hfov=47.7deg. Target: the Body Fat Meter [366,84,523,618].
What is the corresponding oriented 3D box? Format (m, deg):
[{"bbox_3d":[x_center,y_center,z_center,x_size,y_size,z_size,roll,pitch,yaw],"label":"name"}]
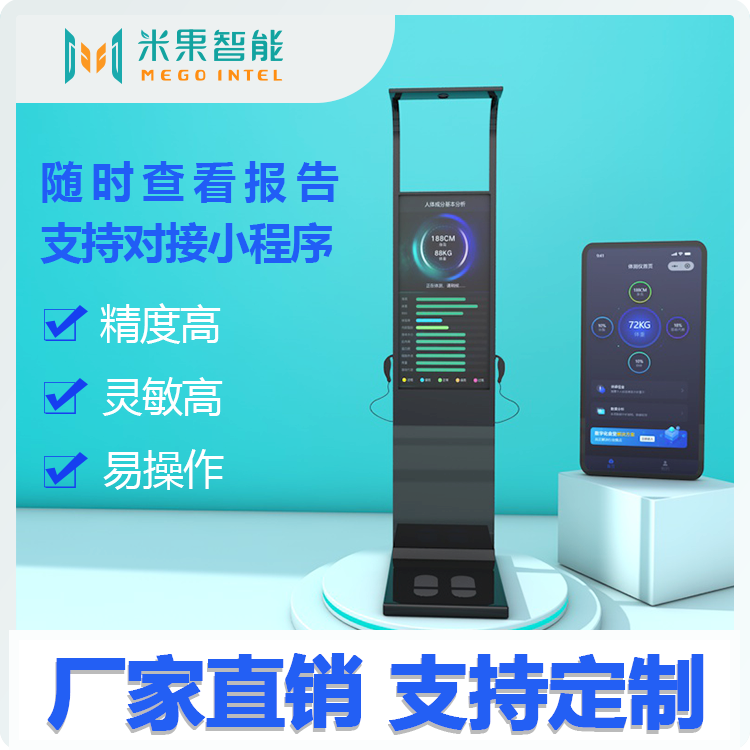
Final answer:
[{"bbox_3d":[0.216,-0.059,2.676,0.664,1.368,0.503,4,10,12],"label":"Body Fat Meter"}]
